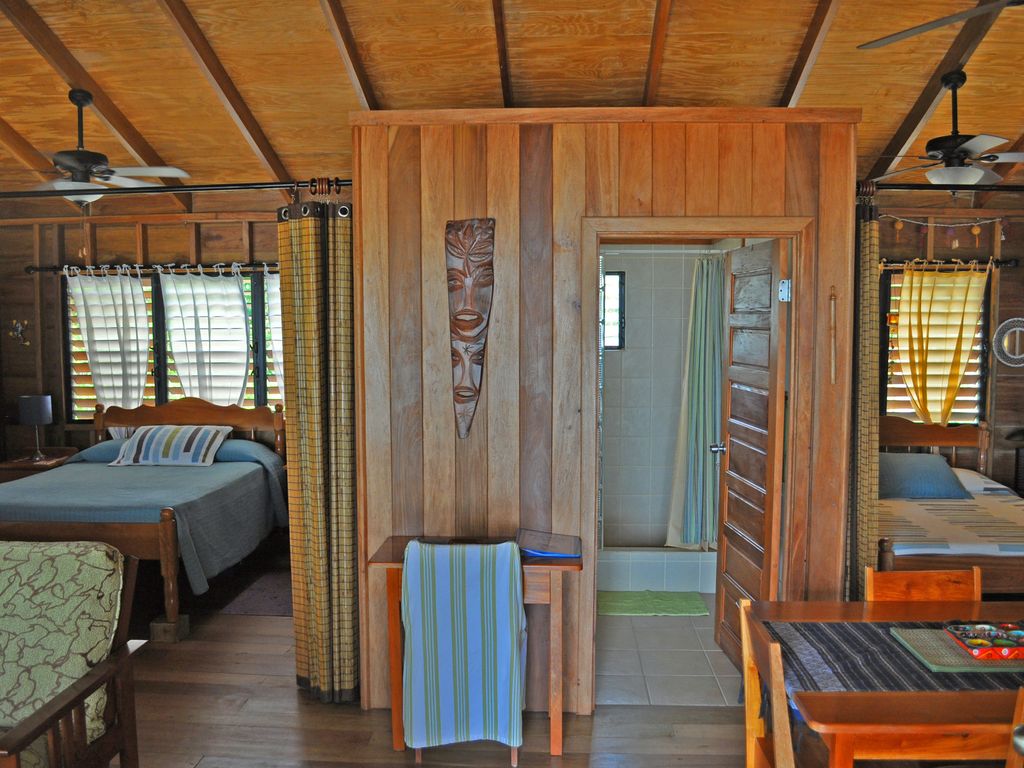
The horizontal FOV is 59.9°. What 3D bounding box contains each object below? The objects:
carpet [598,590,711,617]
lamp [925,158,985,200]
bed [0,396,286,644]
[{"bbox_3d":[0.981,1.518,6.131,0.777,0.042,0.494,0,3,4],"label":"carpet"},{"bbox_3d":[2.396,-1.131,4.832,0.271,0.153,0.269,9,3,40],"label":"lamp"},{"bbox_3d":[-2.472,0.772,6.369,1.726,1.006,1.870,0,0,-3],"label":"bed"}]
